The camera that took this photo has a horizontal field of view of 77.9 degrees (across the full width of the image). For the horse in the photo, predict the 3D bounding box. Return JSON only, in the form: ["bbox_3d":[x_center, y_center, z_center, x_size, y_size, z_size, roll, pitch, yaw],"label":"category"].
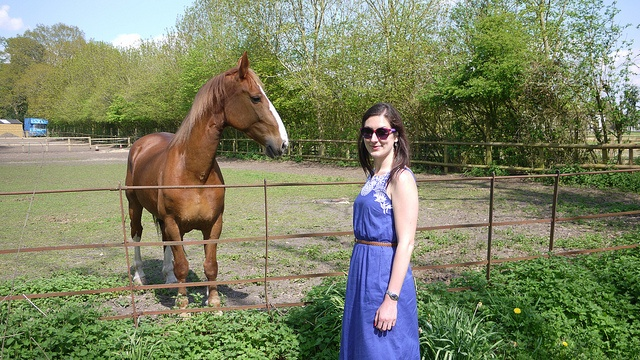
[{"bbox_3d":[-2.921,0.184,8.533,1.863,4.641,5.914,1,-1,-38],"label":"horse"}]

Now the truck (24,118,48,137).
[{"bbox_3d":[-45.913,-8.407,63.851,2.719,3.422,9.696,0,3,-38],"label":"truck"}]
